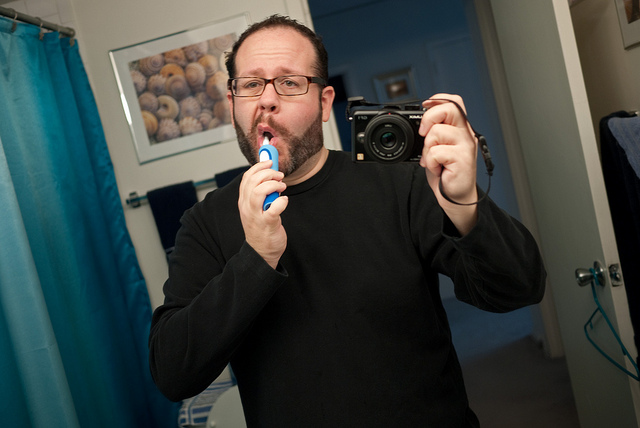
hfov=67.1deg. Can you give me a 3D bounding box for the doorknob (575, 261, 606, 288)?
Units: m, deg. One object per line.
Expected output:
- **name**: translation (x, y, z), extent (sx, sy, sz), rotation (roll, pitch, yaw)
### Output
- **doorknob**: translation (1.069, 0.242, 1.920), extent (0.094, 0.097, 0.088), rotation (-4, 7, -16)

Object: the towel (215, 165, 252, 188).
- **towel**: translation (-0.458, -0.195, 2.497), extent (0.182, 0.070, 0.173), rotation (-10, 7, -5)

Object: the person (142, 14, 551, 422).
- **person**: translation (0.023, 0.034, 1.542), extent (1.195, 1.386, 0.411), rotation (-10, 6, -1)

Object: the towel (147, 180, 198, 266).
- **towel**: translation (-0.738, 0.026, 2.490), extent (0.238, 0.321, 0.140), rotation (-12, 7, -20)
